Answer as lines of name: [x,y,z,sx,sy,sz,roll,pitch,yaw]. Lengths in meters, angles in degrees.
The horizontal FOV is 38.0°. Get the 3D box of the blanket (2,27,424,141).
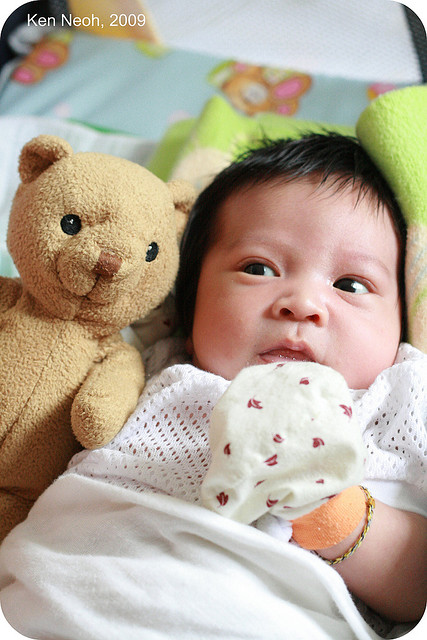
blanket: [-0.048,-0.454,1.193,0.306,0.169,0.507,26,45,36]

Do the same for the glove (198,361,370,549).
glove: [0.065,0.125,0.584,0.188,0.079,0.187,4,87,5]
